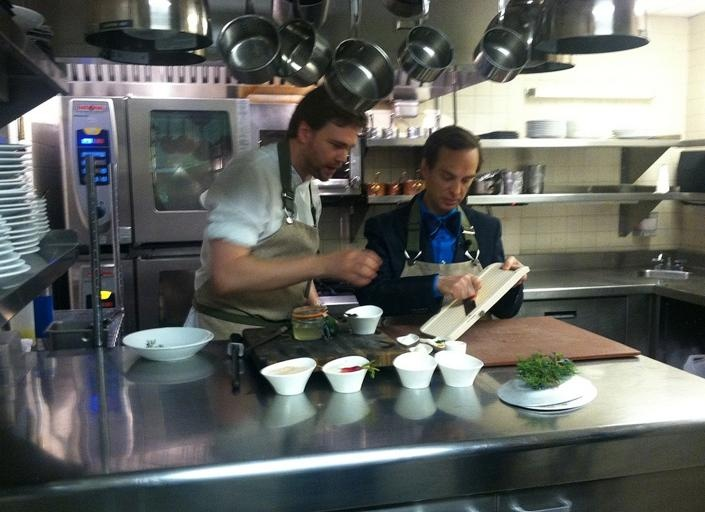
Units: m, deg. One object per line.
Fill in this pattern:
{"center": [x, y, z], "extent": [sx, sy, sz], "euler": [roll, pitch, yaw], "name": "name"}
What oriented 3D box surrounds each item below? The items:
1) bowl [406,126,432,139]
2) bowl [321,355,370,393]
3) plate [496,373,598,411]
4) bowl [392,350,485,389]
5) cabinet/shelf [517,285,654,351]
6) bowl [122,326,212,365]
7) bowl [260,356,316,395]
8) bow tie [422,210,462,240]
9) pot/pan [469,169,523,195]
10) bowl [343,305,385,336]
{"center": [0.467, -0.865, 3.894], "extent": [0.141, 0.046, 0.155], "euler": [0, 2, 0], "name": "bowl"}
{"center": [-0.016, 0.381, 1.747], "extent": [0.169, 0.070, 0.162], "euler": [-1, -1, 0], "name": "bowl"}
{"center": [0.586, 0.387, 1.659], "extent": [0.158, 0.032, 0.151], "euler": [-6, 6, -9], "name": "plate"}
{"center": [0.269, 0.361, 1.800], "extent": [0.283, 0.092, 0.180], "euler": [-3, 13, -7], "name": "bowl"}
{"center": [1.339, 0.333, 3.227], "extent": [0.631, 0.473, 0.219], "euler": [0, 6, -4], "name": "cabinet/shelf"}
{"center": [-0.686, 0.325, 2.093], "extent": [0.334, 0.066, 0.312], "euler": [-8, -18, -3], "name": "bowl"}
{"center": [-0.194, 0.376, 1.724], "extent": [0.176, 0.085, 0.126], "euler": [-7, 14, -24], "name": "bowl"}
{"center": [0.430, -0.153, 2.702], "extent": [0.179, 0.149, 0.071], "euler": [2, 11, 11], "name": "bow tie"}
{"center": [0.975, -0.496, 3.770], "extent": [0.305, 0.126, 0.391], "euler": [-1, -2, 4], "name": "pot/pan"}
{"center": [0.044, 0.234, 2.053], "extent": [0.116, 0.062, 0.112], "euler": [-1, -1, 0], "name": "bowl"}
